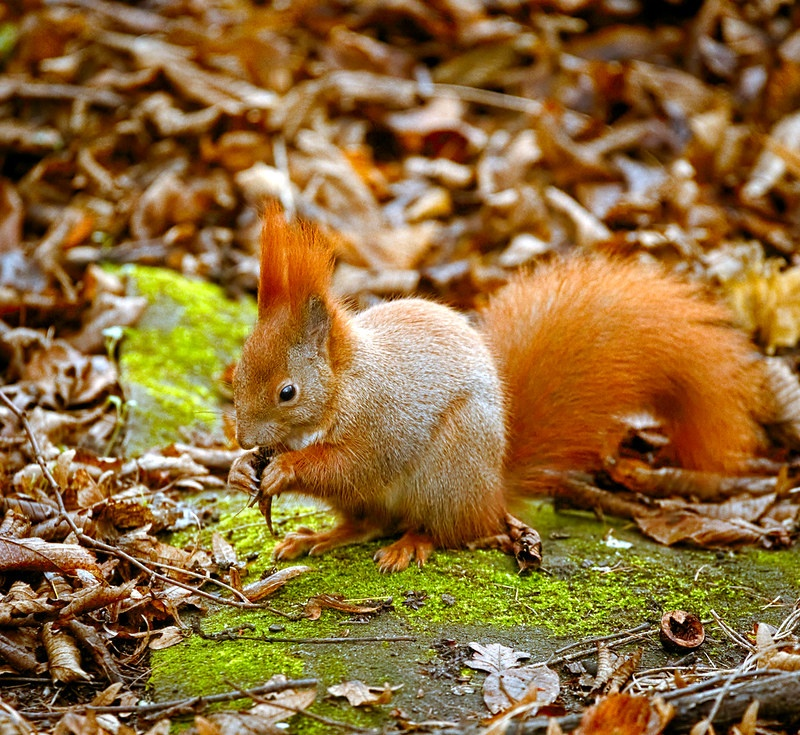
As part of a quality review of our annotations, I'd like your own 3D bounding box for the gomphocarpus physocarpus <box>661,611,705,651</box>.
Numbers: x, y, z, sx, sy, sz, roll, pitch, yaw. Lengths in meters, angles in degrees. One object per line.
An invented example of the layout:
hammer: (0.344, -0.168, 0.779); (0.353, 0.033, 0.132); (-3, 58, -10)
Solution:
gomphocarpus physocarpus: (1.021, 0.948, 3.805); (0.154, 0.047, 0.160); (13, 47, 11)
